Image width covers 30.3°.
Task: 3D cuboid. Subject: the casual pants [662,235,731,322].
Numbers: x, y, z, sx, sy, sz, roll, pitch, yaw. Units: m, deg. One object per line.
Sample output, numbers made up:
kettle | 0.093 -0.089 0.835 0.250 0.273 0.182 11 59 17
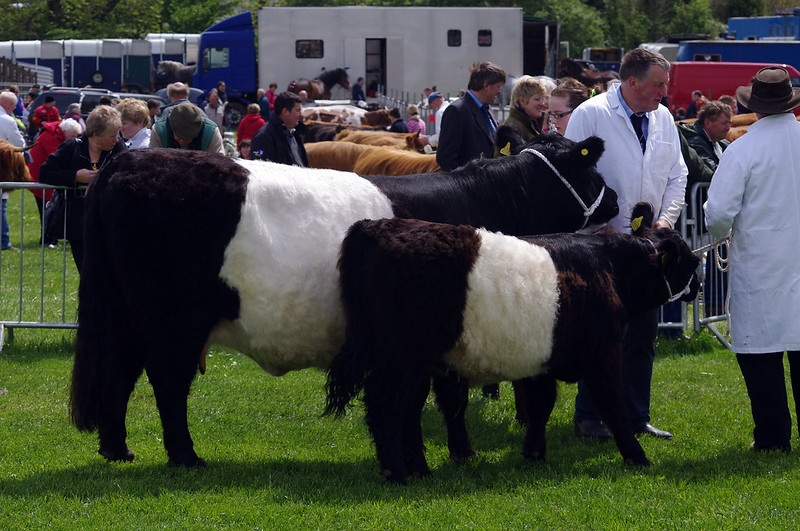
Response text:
casual pants | 4.507 0.264 21.712 1.182 1.292 0.737 -2 -6 44

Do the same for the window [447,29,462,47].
window | 1.355 -5.658 36.707 0.352 0.405 0.087 5 3 18
